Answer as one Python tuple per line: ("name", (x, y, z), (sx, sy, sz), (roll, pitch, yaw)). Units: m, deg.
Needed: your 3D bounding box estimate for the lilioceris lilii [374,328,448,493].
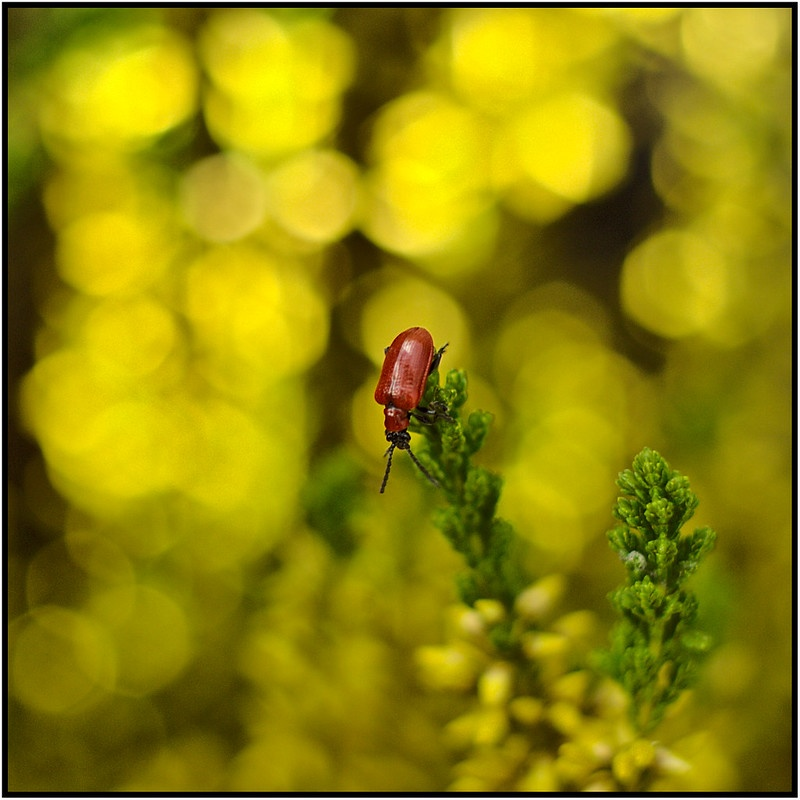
("lilioceris lilii", (0.003, 0.020, 1.290), (0.055, 0.203, 0.138), (7, -6, -23))
